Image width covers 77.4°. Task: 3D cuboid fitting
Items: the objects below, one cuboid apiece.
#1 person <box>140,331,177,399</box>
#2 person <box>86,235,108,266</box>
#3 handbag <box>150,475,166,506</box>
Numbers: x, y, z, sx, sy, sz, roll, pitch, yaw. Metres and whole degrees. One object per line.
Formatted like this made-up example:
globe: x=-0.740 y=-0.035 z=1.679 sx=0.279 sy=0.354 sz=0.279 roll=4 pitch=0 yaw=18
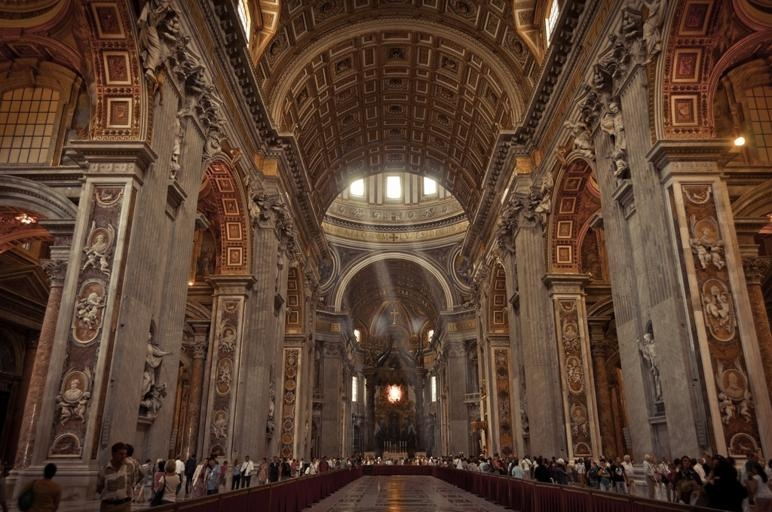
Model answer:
person: x=-5.533 y=2.632 z=11.659 sx=0.536 sy=1.948 sz=1.418 roll=-2 pitch=-15 yaw=0
person: x=-6.356 y=-0.115 z=10.648 sx=0.555 sy=0.912 sz=0.130 roll=-5 pitch=-19 yaw=-22
handbag: x=-3.845 y=3.966 z=8.187 sx=0.174 sy=0.422 sz=0.650 roll=10 pitch=-27 yaw=-22
